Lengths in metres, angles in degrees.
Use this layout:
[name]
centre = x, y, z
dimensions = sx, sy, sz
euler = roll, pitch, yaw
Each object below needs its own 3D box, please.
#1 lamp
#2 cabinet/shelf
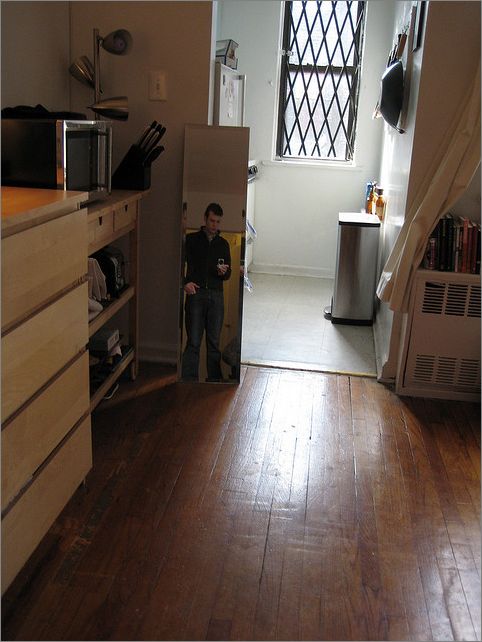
[lamp]
centre = -0.628, -1.097, 2.076
dimensions = 0.201, 0.386, 0.124
euler = -4, 40, -16
[cabinet/shelf]
centre = -0.535, -0.016, 1.960
dimensions = 0.213, 0.733, 0.671
euler = 1, 25, -3
